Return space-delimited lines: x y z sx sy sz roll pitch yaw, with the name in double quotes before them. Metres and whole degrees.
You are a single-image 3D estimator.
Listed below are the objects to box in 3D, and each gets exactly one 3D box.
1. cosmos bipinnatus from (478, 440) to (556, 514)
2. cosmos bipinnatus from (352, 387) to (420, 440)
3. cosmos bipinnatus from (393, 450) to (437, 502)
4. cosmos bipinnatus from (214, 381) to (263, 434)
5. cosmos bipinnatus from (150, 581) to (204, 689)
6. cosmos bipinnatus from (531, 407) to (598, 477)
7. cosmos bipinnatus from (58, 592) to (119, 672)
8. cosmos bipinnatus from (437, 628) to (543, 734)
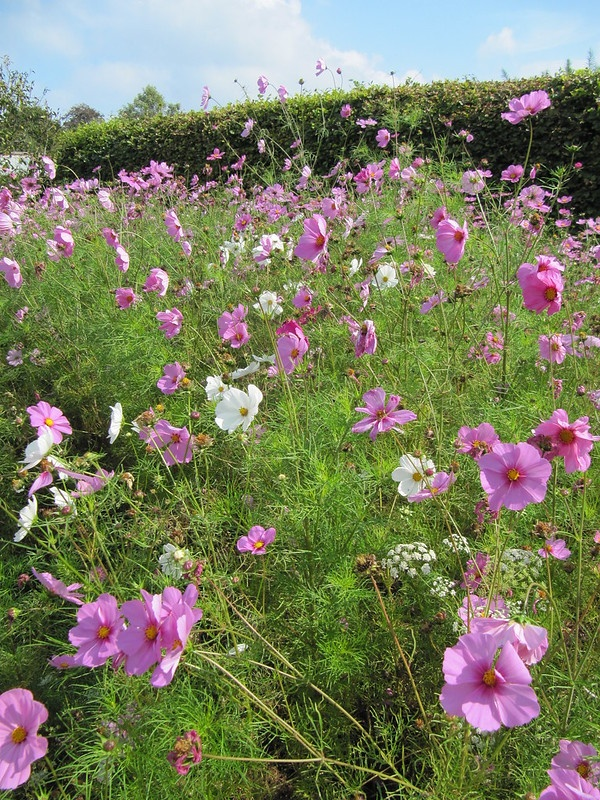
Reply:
"cosmos bipinnatus" 0.396 0.148 1.159 0.034 0.134 0.144 18 8 -11
"cosmos bipinnatus" 0.211 0.035 1.610 0.135 0.055 0.132 0 29 24
"cosmos bipinnatus" 0.294 0.201 1.630 0.128 0.129 0.035 -33 -23 27
"cosmos bipinnatus" -0.152 0.038 1.876 0.142 0.146 0.072 32 2 36
"cosmos bipinnatus" -0.215 0.406 1.063 0.086 0.131 0.161 -8 20 2
"cosmos bipinnatus" 0.578 0.075 1.317 0.129 0.136 0.052 -14 6 39
"cosmos bipinnatus" -0.414 0.487 1.296 0.122 0.041 0.133 -5 34 -7
"cosmos bipinnatus" 0.288 0.434 0.970 0.138 0.131 0.144 -6 20 9
